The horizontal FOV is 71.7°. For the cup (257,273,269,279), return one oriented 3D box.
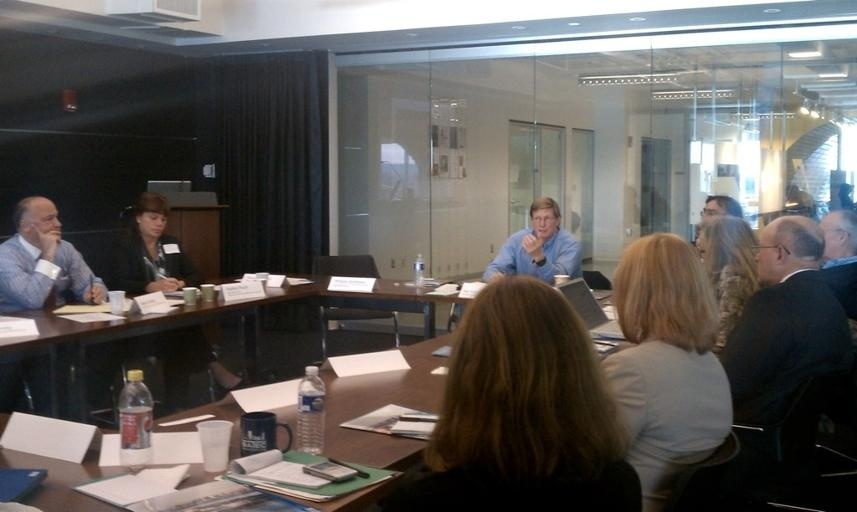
[{"bbox_3d":[-1.530,0.182,5.483,0.083,0.050,0.073,-3,0,36],"label":"cup"}]

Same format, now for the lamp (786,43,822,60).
[{"bbox_3d":[3.624,-1.972,5.743,0.292,0.135,0.060,6,14,25],"label":"lamp"}]

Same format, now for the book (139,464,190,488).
[{"bbox_3d":[-1.062,0.884,2.387,0.096,0.028,0.091,6,7,6],"label":"book"}]

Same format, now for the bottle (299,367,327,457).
[{"bbox_3d":[-0.536,0.666,2.676,0.129,0.314,0.388,-3,13,-11],"label":"bottle"}]

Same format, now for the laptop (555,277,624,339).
[{"bbox_3d":[1.102,0.369,4.067,0.551,0.322,0.581,7,11,30],"label":"laptop"}]

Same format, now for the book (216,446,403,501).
[{"bbox_3d":[-0.487,0.870,2.357,0.339,0.033,0.307,4,4,34],"label":"book"}]

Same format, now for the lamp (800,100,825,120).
[{"bbox_3d":[3.665,-1.406,5.697,0.146,0.183,0.064,-13,4,39],"label":"lamp"}]

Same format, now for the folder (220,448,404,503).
[{"bbox_3d":[-0.475,0.873,2.345,0.346,0.036,0.313,3,3,33],"label":"folder"}]

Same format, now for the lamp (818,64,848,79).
[{"bbox_3d":[3.827,-1.742,5.621,0.270,0.129,0.178,-2,-7,32],"label":"lamp"}]

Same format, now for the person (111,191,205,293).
[{"bbox_3d":[-2.448,-0.132,5.273,0.601,0.859,0.590,1,13,3],"label":"person"}]

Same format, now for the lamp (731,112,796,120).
[{"bbox_3d":[3.305,-1.389,5.865,0.548,0.074,0.038,4,13,17],"label":"lamp"}]

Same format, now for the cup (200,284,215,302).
[{"bbox_3d":[-1.800,0.315,4.960,0.131,0.134,0.151,-1,-3,-3],"label":"cup"}]

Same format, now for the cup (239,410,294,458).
[{"bbox_3d":[-0.691,0.726,2.457,0.273,0.206,0.151,3,-4,-2],"label":"cup"}]

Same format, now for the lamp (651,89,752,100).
[{"bbox_3d":[2.700,-1.652,6.071,0.773,0.108,0.115,3,13,12],"label":"lamp"}]
